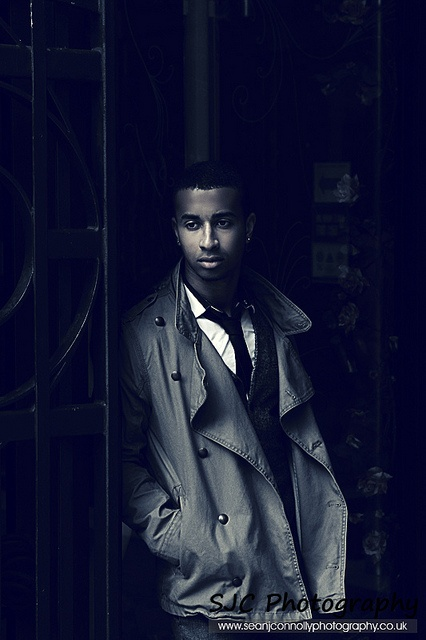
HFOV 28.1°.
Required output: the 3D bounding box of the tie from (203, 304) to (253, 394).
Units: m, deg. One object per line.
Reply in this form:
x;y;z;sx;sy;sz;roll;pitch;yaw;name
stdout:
0.067;0.084;3.384;0.122;0.425;0.104;-2;-20;-16;tie
